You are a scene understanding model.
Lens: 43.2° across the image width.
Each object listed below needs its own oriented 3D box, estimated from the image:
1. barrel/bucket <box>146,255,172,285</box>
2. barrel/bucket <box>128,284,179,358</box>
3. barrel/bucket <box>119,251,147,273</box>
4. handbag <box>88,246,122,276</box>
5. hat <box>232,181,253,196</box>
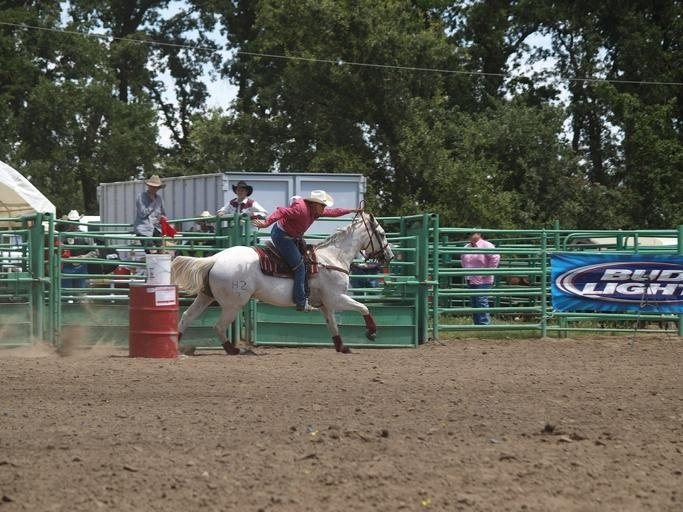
[{"bbox_3d":[-2.747,0.200,13.012,0.601,0.410,0.475,0,-4,-10],"label":"barrel/bucket"},{"bbox_3d":[-2.828,0.975,13.014,0.695,1.108,0.252,0,-1,-9],"label":"barrel/bucket"},{"bbox_3d":[-3.926,0.120,16.297,0.362,0.418,0.522,0,-4,-27],"label":"barrel/bucket"},{"bbox_3d":[-4.830,0.103,17.608,0.873,0.618,0.885,0,-8,-2],"label":"handbag"},{"bbox_3d":[-1.982,-1.368,17.127,0.524,0.163,0.485,2,-22,0],"label":"hat"}]
